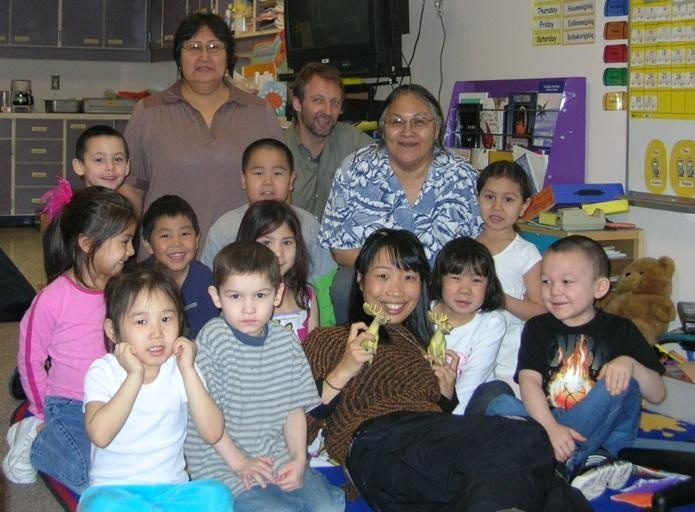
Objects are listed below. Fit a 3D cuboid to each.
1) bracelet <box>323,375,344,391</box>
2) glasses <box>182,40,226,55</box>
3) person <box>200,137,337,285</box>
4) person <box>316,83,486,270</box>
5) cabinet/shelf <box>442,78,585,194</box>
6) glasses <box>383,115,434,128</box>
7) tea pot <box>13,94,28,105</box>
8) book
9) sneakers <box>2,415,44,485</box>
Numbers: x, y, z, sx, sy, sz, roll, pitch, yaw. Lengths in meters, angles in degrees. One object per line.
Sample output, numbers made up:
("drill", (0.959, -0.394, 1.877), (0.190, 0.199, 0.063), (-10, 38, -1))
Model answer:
("bracelet", (-0.058, 0.473, 2.241), (0.050, 0.049, 0.012), (8, 36, 18))
("glasses", (-0.737, -1.069, 3.151), (0.205, 0.066, 0.045), (-3, 9, -12))
("person", (-0.381, -0.241, 3.112), (0.715, 0.674, 0.365), (2, 6, -5))
("person", (0.311, -0.404, 3.029), (0.880, 0.832, 0.493), (-1, 18, -2))
("cabinet/shelf", (1.046, -0.854, 4.005), (0.892, 0.557, 0.311), (10, 11, 37))
("glasses", (0.280, -0.629, 2.872), (0.230, 0.067, 0.077), (1, 9, 10))
("tea pot", (-3.785, -1.812, 7.104), (0.144, 0.147, 0.124), (1, 2, -20))
("book", (0.989, -0.685, 3.680), (0.069, 0.698, 0.689), (-5, 11, -35))
("sneakers", (-1.279, 0.769, 2.472), (0.146, 0.328, 0.139), (1, 2, 28))
